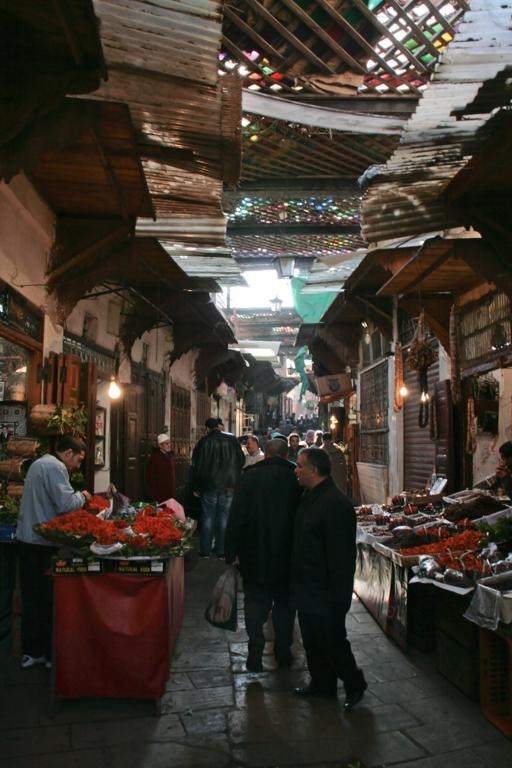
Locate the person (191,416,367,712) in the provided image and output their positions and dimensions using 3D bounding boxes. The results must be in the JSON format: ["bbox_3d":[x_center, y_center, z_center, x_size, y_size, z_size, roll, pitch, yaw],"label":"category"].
[{"bbox_3d":[0.261,1.213,4.004,0.564,1.701,1.075,6,-10,-33],"label":"person"}]

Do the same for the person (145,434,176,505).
[{"bbox_3d":[-1.595,1.381,9.661,0.478,1.107,0.825,2,-8,-10],"label":"person"}]

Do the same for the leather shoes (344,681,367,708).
[{"bbox_3d":[0.620,1.907,3.582,0.071,0.095,0.218,-23,-7,24],"label":"leather shoes"}]

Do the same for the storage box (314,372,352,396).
[{"bbox_3d":[2.169,0.012,16.335,0.735,0.497,0.747,-7,-14,3],"label":"storage box"}]

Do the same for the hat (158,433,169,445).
[{"bbox_3d":[-1.504,0.896,9.477,0.166,0.181,0.297,3,-8,-15],"label":"hat"}]

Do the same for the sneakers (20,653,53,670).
[{"bbox_3d":[-1.578,1.990,4.188,0.276,0.092,0.140,-1,-8,11],"label":"sneakers"}]

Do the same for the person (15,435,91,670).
[{"bbox_3d":[-1.538,1.277,4.238,0.453,1.509,0.239,0,-8,5],"label":"person"}]
